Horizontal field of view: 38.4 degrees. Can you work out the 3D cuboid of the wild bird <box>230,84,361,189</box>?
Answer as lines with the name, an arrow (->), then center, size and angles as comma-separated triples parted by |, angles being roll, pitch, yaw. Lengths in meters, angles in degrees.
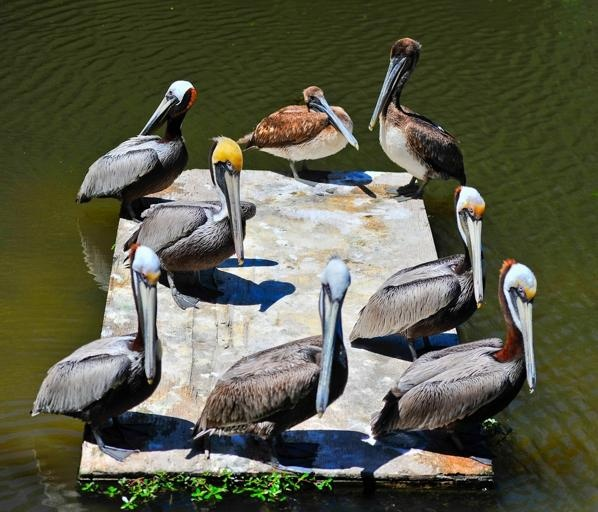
wild bird -> 0.118, -1.654, 11.613 | 2.105, 1.140, 1.070 | 20, 32, 40
